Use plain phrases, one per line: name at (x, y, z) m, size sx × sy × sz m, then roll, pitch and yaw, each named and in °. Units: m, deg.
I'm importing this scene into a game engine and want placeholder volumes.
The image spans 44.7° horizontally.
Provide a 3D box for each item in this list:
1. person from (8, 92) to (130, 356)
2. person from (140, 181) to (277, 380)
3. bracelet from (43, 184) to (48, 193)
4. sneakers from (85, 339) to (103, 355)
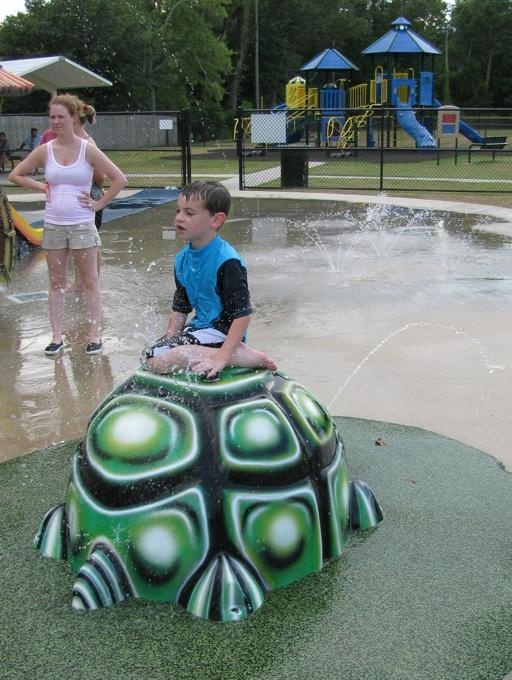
person at (-1.393, -0.823, 4.761) m, size 0.789 × 1.922 × 0.596 m, roll -3°, pitch 12°, yaw -10°
person at (-0.220, -0.222, 2.231) m, size 0.450 × 0.685 × 0.369 m, roll 8°, pitch 14°, yaw 36°
bracelet at (-1.599, -1.148, 4.721) m, size 0.041 × 0.074 × 0.114 m, roll -2°, pitch 8°, yaw -22°
sneakers at (-1.302, 0.058, 4.992) m, size 0.129 × 0.070 × 0.246 m, roll -1°, pitch 3°, yaw -1°
